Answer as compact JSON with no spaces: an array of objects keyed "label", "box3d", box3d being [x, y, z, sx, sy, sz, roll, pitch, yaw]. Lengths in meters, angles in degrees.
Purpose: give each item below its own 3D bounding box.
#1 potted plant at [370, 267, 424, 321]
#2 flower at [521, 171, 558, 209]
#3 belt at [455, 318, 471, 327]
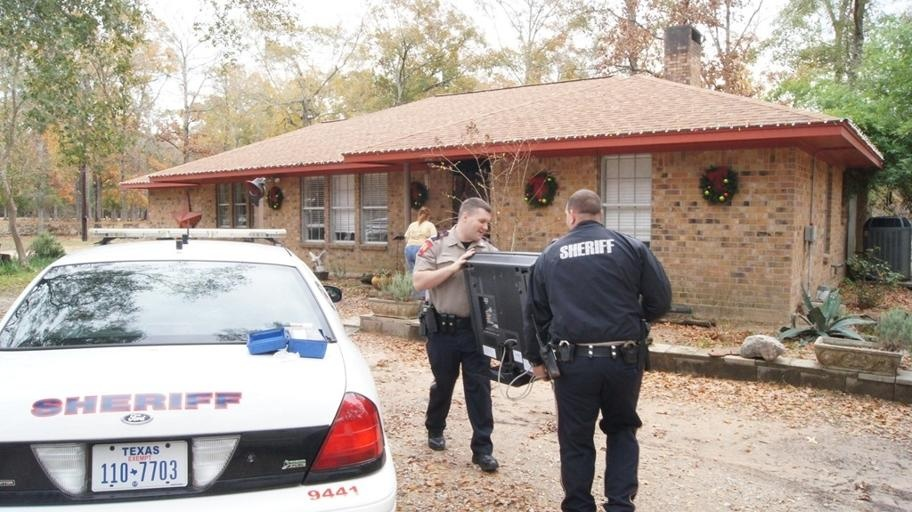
[{"label":"potted plant","box3d":[-1.340,0.927,16.681,1.151,1.045,1.537,2,2,14]},{"label":"flower","box3d":[2.061,-1.639,18.263,0.766,0.843,0.276,16,13,33]},{"label":"belt","box3d":[0.106,1.024,11.339,0.169,0.073,0.131,12,16,34]}]
